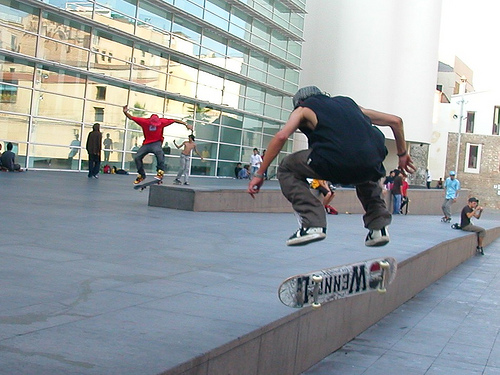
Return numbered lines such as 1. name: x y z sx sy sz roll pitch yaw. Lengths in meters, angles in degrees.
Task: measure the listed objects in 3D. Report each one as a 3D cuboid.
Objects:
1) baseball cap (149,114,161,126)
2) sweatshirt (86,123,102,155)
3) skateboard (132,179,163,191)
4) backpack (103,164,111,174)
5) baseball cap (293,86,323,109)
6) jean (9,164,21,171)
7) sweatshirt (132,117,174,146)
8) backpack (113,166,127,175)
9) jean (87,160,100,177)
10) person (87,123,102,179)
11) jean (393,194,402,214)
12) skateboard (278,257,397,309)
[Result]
1. baseball cap: -2.725 -1.932 11.019 0.291 0.350 0.411 3 3 0
2. sweatshirt: -6.986 -2.146 17.194 0.586 1.370 0.336 2 3 -18
3. skateboard: -3.176 -0.062 11.895 1.014 0.217 0.146 -16 -12 -7
4. backpack: -8.293 -1.099 22.287 0.147 0.511 0.466 5 4 34
5. baseball cap: 0.563 -0.869 3.719 0.279 0.267 0.275 3 3 6
6. jean: -10.513 -0.893 17.185 0.224 0.302 0.778 2 3 -13
7. sweatshirt: -2.888 -1.651 11.253 1.094 0.821 0.568 2 3 -21
8. backpack: -7.786 -1.008 22.897 0.578 0.390 0.404 1 2 -30
9. jean: -7.120 -0.857 17.522 0.457 0.754 0.261 1 3 -28
10. person: -7.019 -1.653 17.299 0.590 2.488 0.853 2 3 -22
11. jean: 7.832 0.880 20.391 0.393 1.041 0.318 3 3 1
12. skateboard: 0.901 0.876 3.663 1.508 0.345 0.187 -6 -15 -29
